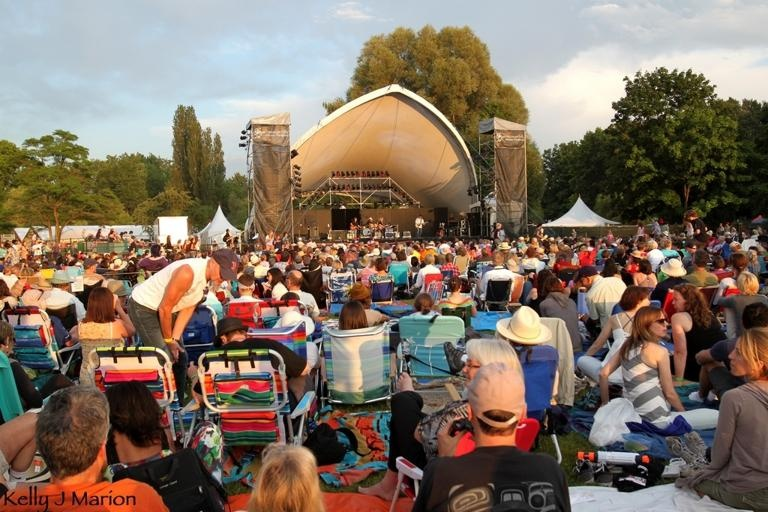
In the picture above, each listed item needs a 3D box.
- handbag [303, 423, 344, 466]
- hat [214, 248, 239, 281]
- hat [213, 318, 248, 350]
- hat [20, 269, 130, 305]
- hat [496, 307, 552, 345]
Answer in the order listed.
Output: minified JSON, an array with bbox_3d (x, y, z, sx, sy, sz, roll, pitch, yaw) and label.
[{"bbox_3d":[-0.647,1.912,6.733,0.386,0.139,0.427,12,19,-32],"label":"handbag"},{"bbox_3d":[-1.739,0.086,7.188,0.359,0.198,0.232,43,15,27],"label":"hat"},{"bbox_3d":[-1.627,0.785,6.777,0.256,0.191,0.354,-7,-23,-43],"label":"hat"},{"bbox_3d":[-5.267,0.525,10.817,0.534,0.410,0.809,1,11,43],"label":"hat"},{"bbox_3d":[1.650,0.729,6.818,0.843,0.322,0.916,-5,-10,25],"label":"hat"}]
